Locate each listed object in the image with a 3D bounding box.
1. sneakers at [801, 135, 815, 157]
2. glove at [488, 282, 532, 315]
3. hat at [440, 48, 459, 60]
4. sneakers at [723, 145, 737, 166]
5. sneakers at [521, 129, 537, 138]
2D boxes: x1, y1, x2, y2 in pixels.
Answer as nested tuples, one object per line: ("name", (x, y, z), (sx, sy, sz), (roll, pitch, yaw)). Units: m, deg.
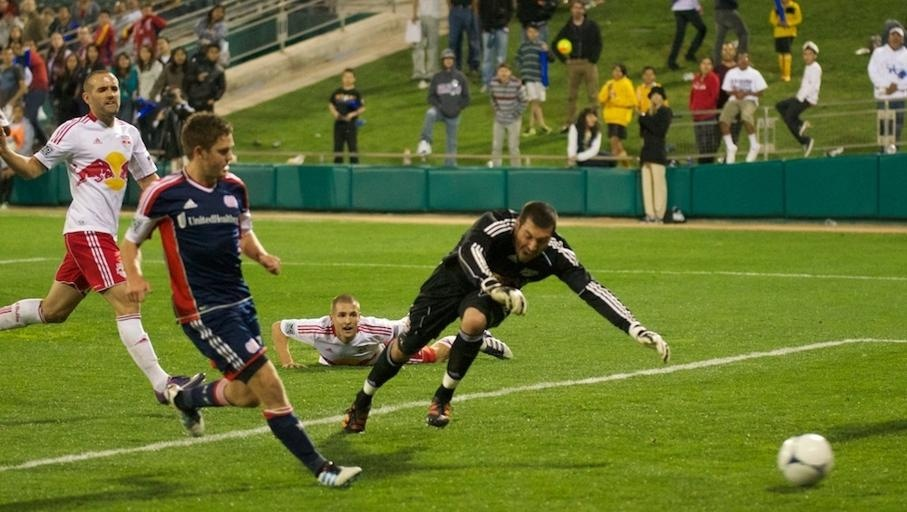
("sneakers", (8.193, -2.431, 29.017), (0.273, 0.199, 0.586), (14, -32, 14))
("glove", (0.717, 0.599, 17.005), (0.527, 0.396, 0.297), (-3, 2, 10))
("hat", (-0.156, -4.691, 29.627), (0.528, 0.188, 0.685), (0, 12, 0))
("sneakers", (6.289, -2.249, 28.400), (0.236, 0.513, 0.223), (12, -1, -39))
("sneakers", (1.983, -3.194, 33.142), (0.207, 0.137, 0.360), (-6, 9, -44))
